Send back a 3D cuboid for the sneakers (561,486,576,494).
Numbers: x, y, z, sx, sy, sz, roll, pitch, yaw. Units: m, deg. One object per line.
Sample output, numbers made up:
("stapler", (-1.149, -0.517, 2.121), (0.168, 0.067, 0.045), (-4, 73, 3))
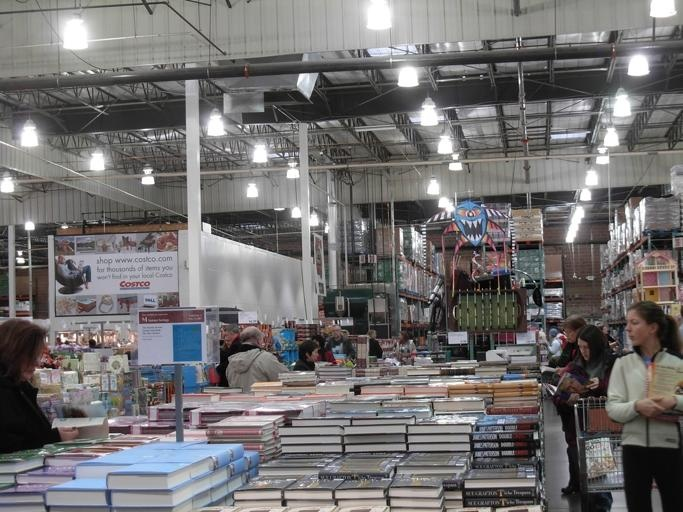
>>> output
("sneakers", (2.172, 2.244, 7.332), (0.145, 0.061, 0.052), (13, -17, -41))
